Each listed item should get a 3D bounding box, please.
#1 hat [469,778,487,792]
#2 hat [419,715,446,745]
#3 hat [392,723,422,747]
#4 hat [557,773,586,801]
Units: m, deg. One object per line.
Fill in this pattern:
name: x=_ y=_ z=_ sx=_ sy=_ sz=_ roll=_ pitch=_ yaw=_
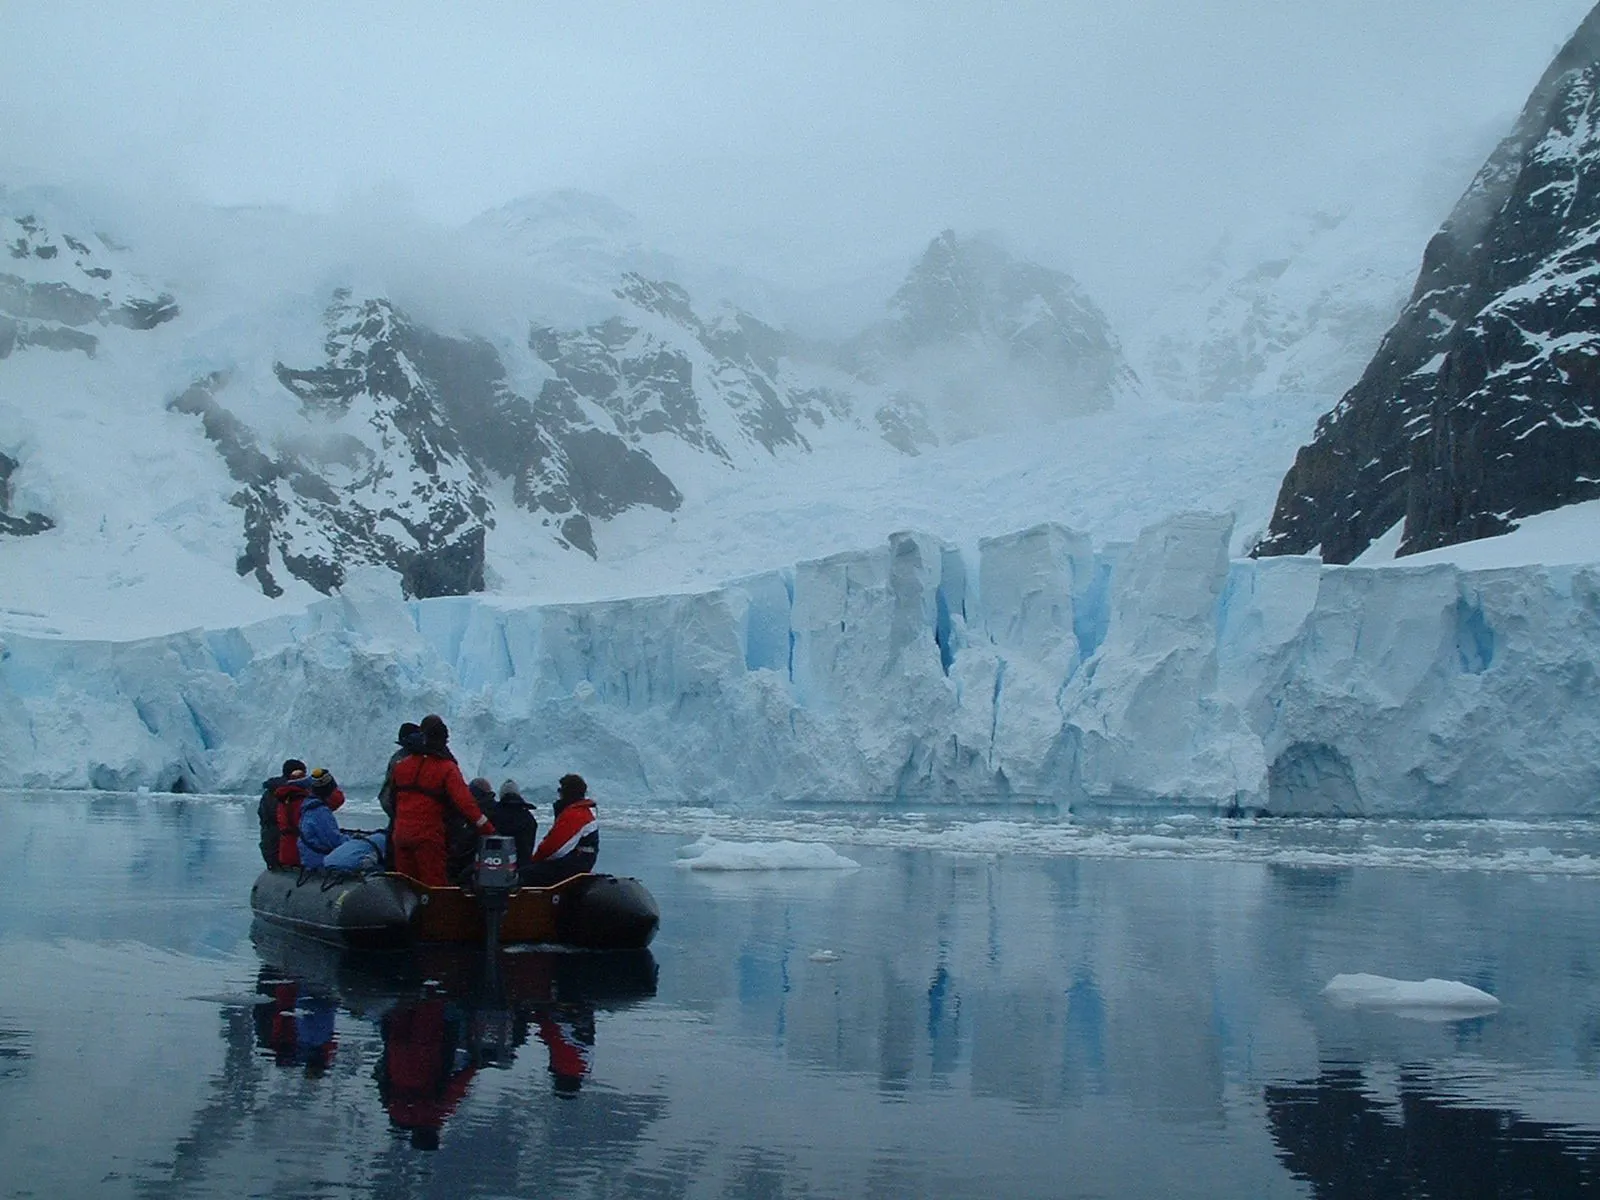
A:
hat: x=-3.269 y=1.852 z=18.752 sx=0.144 sy=0.115 sz=0.134 roll=-4 pitch=-13 yaw=23
hat: x=-3.432 y=1.211 z=17.307 sx=0.286 sy=0.306 sz=0.336 roll=1 pitch=6 yaw=-8
hat: x=-3.769 y=1.296 z=17.788 sx=0.192 sy=0.258 sz=0.682 roll=3 pitch=-8 yaw=-11
hat: x=-2.276 y=1.834 z=18.418 sx=0.274 sy=0.260 sz=0.307 roll=2 pitch=11 yaw=-13
